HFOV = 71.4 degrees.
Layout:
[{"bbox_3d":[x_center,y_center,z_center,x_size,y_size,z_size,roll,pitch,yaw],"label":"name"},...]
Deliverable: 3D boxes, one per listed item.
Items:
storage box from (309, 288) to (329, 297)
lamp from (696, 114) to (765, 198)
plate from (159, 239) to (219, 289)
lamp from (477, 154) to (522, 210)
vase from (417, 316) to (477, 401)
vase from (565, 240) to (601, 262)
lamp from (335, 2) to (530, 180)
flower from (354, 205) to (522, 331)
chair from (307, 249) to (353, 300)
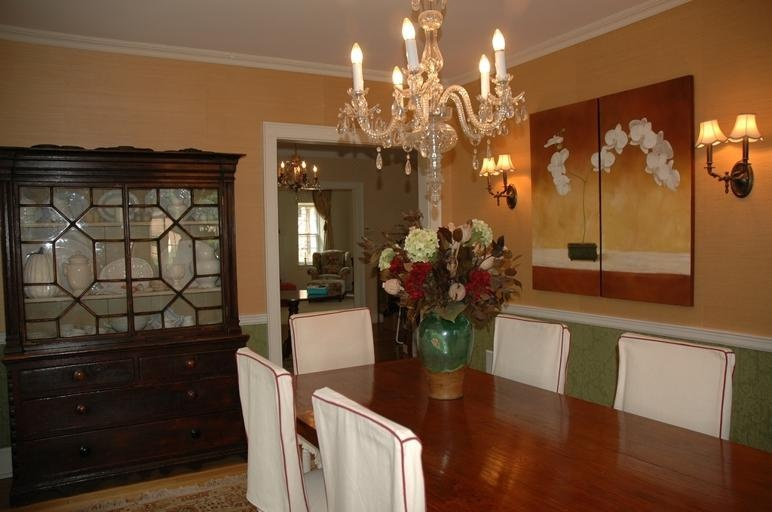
[{"bbox_3d":[-1.517,0.806,11.953,0.304,0.174,0.220,1,8,3],"label":"storage box"},{"bbox_3d":[2.349,-0.680,3.698,0.387,0.560,0.265,7,16,31],"label":"lamp"},{"bbox_3d":[-1.647,0.053,4.581,0.210,0.320,0.315,8,3,40],"label":"plate"},{"bbox_3d":[1.096,-0.691,5.137,0.264,0.501,0.473,10,19,43],"label":"lamp"},{"bbox_3d":[0.350,0.566,3.167,0.283,0.506,0.315,0,1,33],"label":"vase"},{"bbox_3d":[1.661,-0.042,4.505,0.147,0.126,0.191,-7,9,-40],"label":"vase"},{"bbox_3d":[0.408,-1.371,4.300,1.235,1.772,1.283,-1,-3,3],"label":"lamp"},{"bbox_3d":[0.327,0.108,3.252,0.828,0.595,0.929,1,-1,-25],"label":"flower"},{"bbox_3d":[-1.321,0.433,12.518,1.031,1.235,1.085,-1,-7,2],"label":"chair"}]
